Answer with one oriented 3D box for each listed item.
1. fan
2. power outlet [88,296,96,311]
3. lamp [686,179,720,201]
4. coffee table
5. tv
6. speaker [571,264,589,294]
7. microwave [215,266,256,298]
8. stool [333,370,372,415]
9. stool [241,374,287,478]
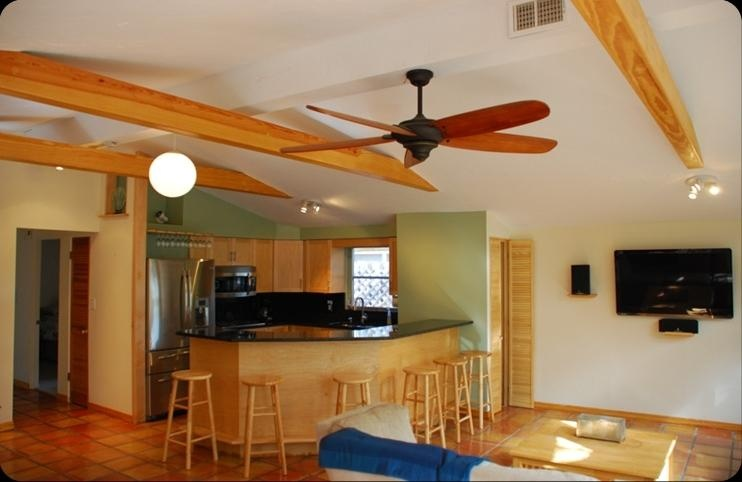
[{"bbox_3d":[0.706,-0.896,4.435,1.346,0.400,1.161,4,-10,-22],"label":"fan"},{"bbox_3d":[-4.010,0.898,7.783,0.163,0.200,0.031,3,5,35],"label":"power outlet"},{"bbox_3d":[3.826,-0.597,6.193,0.323,0.197,0.319,-4,-13,40],"label":"lamp"},{"bbox_3d":[2.163,2.055,5.335,1.036,0.433,1.027,-3,-6,30],"label":"coffee table"},{"bbox_3d":[4.083,0.546,7.140,1.115,0.666,0.138,0,0,22],"label":"tv"},{"bbox_3d":[2.981,0.548,7.663,0.261,0.451,0.134,1,4,14],"label":"speaker"},{"bbox_3d":[-2.205,0.628,8.624,0.500,0.422,0.754,-3,-5,34],"label":"microwave"},{"bbox_3d":[-0.213,1.725,6.270,0.524,0.541,0.490,3,-10,-27],"label":"stool"},{"bbox_3d":[-1.181,2.006,6.016,0.488,1.002,0.672,-1,4,-11],"label":"stool"}]
